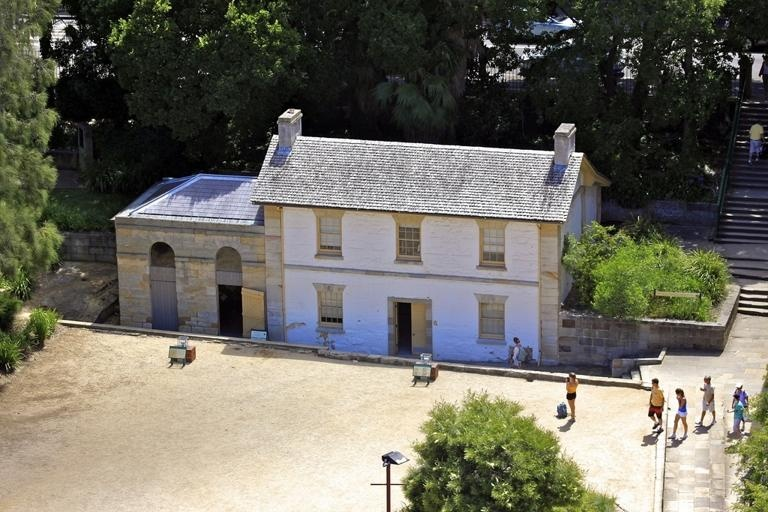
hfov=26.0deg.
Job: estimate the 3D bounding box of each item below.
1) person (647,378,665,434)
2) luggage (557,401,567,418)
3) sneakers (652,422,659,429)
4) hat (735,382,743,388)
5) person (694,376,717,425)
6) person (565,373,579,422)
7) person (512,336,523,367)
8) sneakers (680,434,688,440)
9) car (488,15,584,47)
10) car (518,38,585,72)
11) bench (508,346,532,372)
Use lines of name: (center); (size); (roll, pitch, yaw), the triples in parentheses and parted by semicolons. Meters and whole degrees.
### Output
person: (11.936, 6.472, 72.627); (0.612, 2.395, 1.064); (1, 5, 10)
luggage: (8.120, 6.915, 74.660); (0.526, 0.711, 0.515); (-2, -4, 38)
sneakers: (12.013, 7.400, 73.028); (0.342, 0.147, 0.125); (-34, 35, -28)
hat: (15.684, 5.650, 73.043); (0.101, 0.362, 0.382); (5, -6, -29)
person: (14.168, 6.259, 72.551); (0.730, 2.224, 1.430); (1, 5, 14)
person: (8.455, 6.242, 74.660); (0.433, 2.000, 0.996); (0, 5, 6)
person: (6.547, 4.605, 80.571); (0.541, 1.379, 0.310); (0, 5, 1)
sneakers: (13.123, 7.755, 72.156); (0.307, 0.268, 0.202); (-3, 5, -28)
car: (9.231, -13.240, 97.606); (4.317, 1.212, 2.749); (-1, 8, 17)
car: (9.436, -10.419, 90.011); (2.093, 0.892, 2.104); (-24, 42, -11)
bench: (6.667, 4.961, 80.362); (1.030, 1.004, 0.183); (0, 8, 1)
